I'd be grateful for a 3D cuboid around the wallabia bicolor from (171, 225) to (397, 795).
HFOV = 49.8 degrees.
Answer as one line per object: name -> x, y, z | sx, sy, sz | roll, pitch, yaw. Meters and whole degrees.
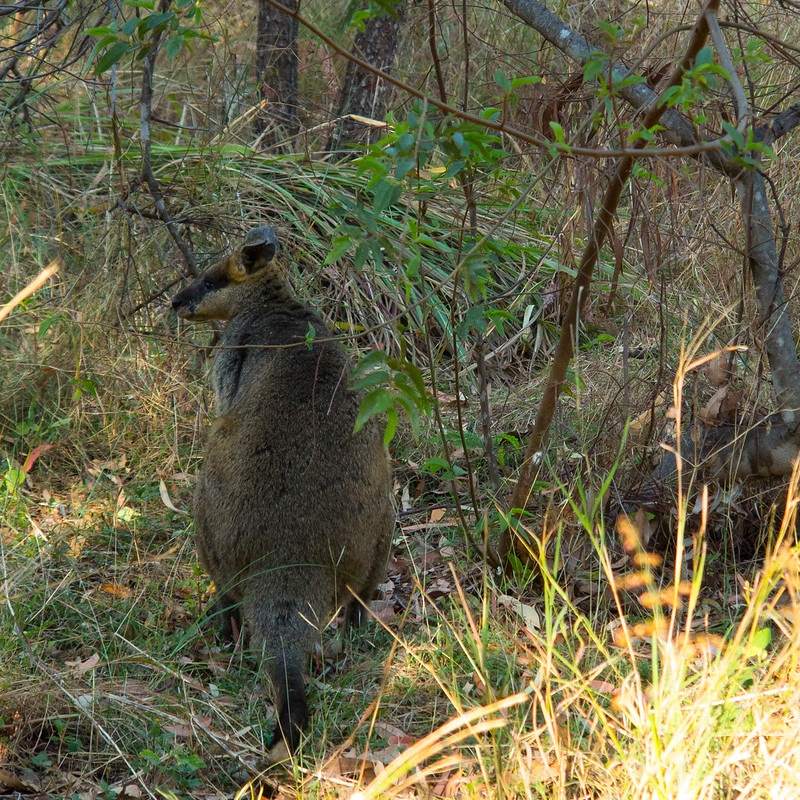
wallabia bicolor -> -0.547, 0.261, 3.615 | 0.620, 2.254, 0.880 | 1, -37, -16
